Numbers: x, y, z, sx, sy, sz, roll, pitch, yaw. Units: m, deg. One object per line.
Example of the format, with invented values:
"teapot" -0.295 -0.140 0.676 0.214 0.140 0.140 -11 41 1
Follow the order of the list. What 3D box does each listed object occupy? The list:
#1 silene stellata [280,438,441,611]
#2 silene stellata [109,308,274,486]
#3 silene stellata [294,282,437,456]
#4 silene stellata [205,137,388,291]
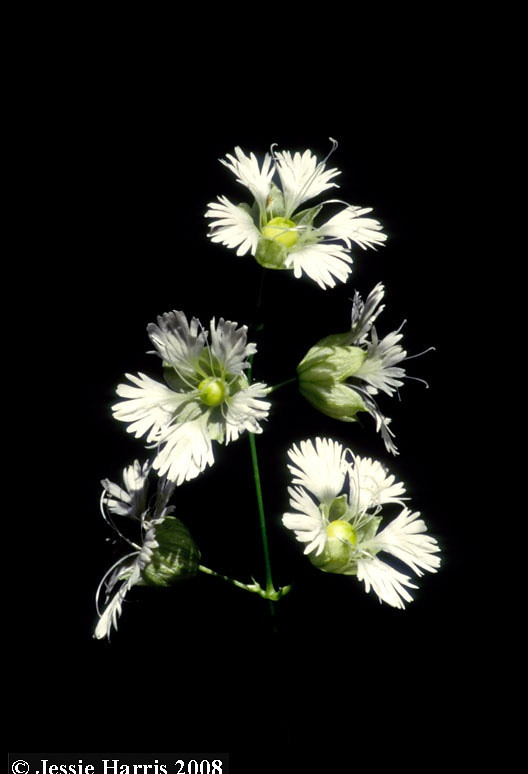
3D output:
"silene stellata" 0.205 0.379 1.967 0.355 0.168 0.377 4 12 -27
"silene stellata" -0.113 0.002 1.817 0.323 0.146 0.300 18 22 -19
"silene stellata" 0.255 -0.028 2.022 0.154 0.418 0.427 -32 44 -22
"silene stellata" 0.035 -0.400 2.021 0.360 0.169 0.386 14 -19 -39
